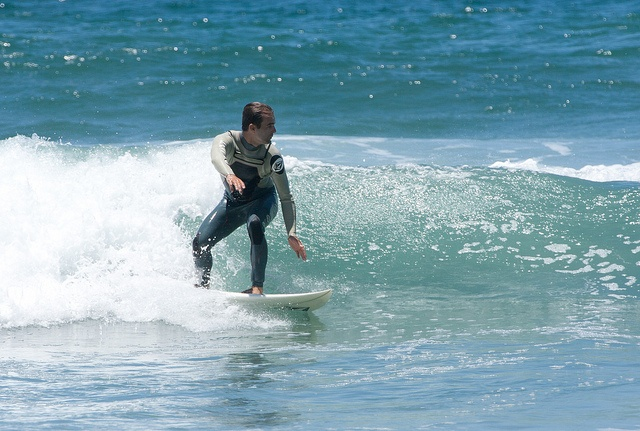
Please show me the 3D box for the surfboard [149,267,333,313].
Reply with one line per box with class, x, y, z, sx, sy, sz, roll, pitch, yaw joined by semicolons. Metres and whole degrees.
surfboard;-1.668;1.460;22.134;4.277;0.328;0.457;6;25;-6
